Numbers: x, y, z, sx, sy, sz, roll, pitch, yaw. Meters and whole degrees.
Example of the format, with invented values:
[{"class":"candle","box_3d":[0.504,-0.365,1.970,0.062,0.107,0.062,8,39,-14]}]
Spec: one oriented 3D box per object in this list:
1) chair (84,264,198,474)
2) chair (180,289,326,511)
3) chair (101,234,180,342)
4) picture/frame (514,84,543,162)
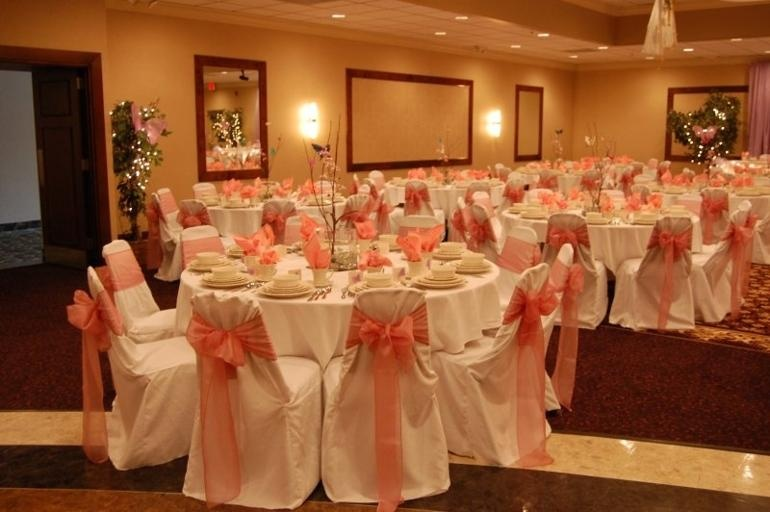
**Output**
[{"class":"chair","box_3d":[-1.678,0.731,4.166,0.905,1.230,0.933,5,13,8]},{"class":"chair","box_3d":[-0.810,0.859,3.539,0.794,1.330,0.460,-2,13,-8]},{"class":"chair","box_3d":[-2.331,0.293,5.471,0.610,1.087,0.700,1,17,7]},{"class":"picture/frame","box_3d":[4.311,-3.951,17.157,1.459,2.215,0.157,-13,18,-43]}]
